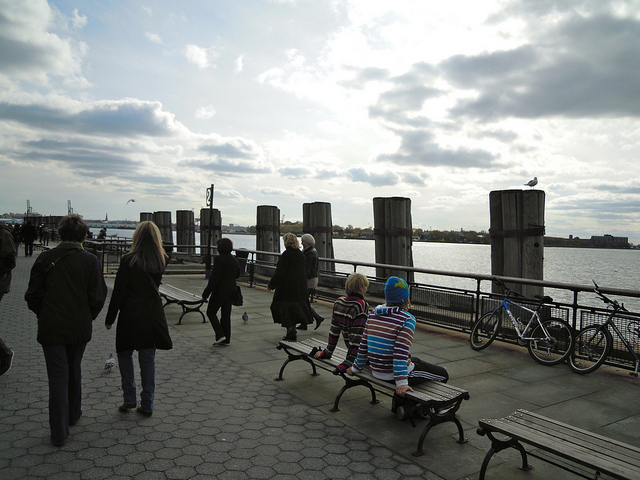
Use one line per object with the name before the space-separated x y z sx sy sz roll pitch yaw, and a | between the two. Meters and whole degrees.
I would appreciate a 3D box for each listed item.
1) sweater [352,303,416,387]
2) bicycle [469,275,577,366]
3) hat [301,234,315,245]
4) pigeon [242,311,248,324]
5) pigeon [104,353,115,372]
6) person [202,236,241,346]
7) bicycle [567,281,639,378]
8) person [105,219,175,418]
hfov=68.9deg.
sweater | 0.768 1.168 5.319 0.306 0.877 0.761 -3 5 -36
bicycle | 3.408 1.433 7.962 0.838 1.199 1.928 24 -14 -35
hat | -0.252 -0.008 9.657 0.185 0.220 0.227 9 27 -25
pigeon | -1.632 1.720 10.191 0.109 0.195 0.313 -1 4 -10
pigeon | -3.127 1.831 6.927 0.139 0.210 0.326 -2 4 -25
person | -1.779 0.936 8.458 0.637 1.942 0.515 -2 4 -20
bicycle | 4.235 1.343 7.016 0.853 1.315 0.579 0 4 -1
person | -2.162 0.926 5.578 0.719 2.285 0.516 -2 4 -19
